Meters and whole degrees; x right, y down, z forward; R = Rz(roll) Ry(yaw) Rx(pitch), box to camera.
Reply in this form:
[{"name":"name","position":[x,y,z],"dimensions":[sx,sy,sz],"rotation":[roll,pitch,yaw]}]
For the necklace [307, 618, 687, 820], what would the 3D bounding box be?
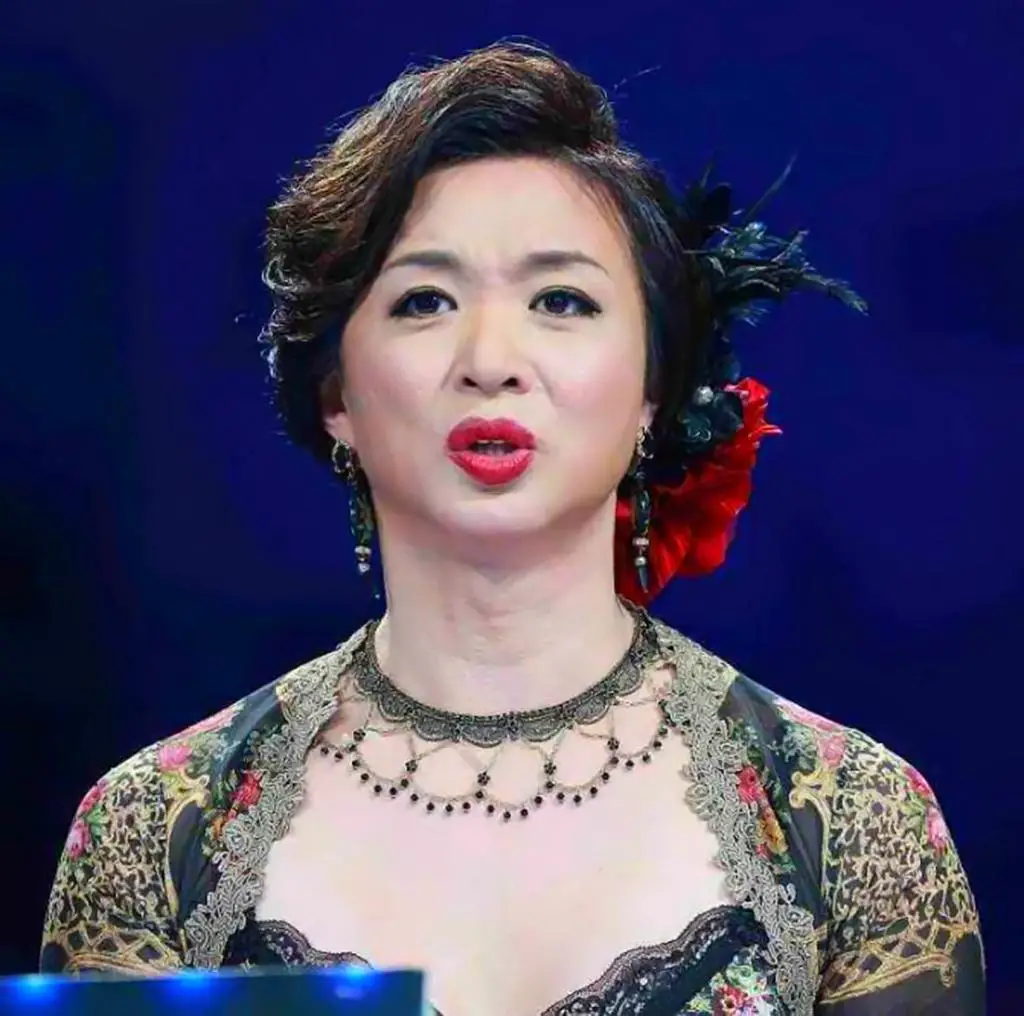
[{"name":"necklace","position":[0.059,0.373,3.223],"dimensions":[0.340,0.028,0.302],"rotation":[21,49,26]}]
